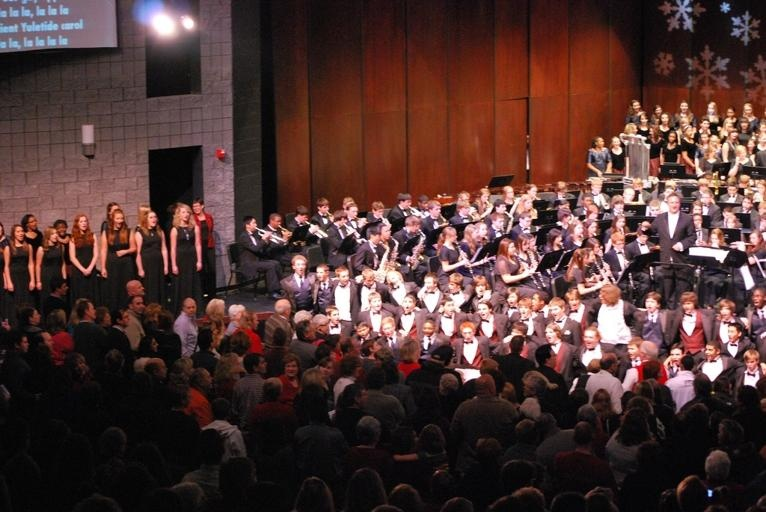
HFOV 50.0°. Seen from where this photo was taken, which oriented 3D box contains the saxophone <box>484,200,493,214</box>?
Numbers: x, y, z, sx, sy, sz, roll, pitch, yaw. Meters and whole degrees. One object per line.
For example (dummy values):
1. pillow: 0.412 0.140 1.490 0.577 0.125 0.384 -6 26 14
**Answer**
1. saxophone: 2.330 -1.066 18.190 0.069 0.224 0.180 19 -6 -40
